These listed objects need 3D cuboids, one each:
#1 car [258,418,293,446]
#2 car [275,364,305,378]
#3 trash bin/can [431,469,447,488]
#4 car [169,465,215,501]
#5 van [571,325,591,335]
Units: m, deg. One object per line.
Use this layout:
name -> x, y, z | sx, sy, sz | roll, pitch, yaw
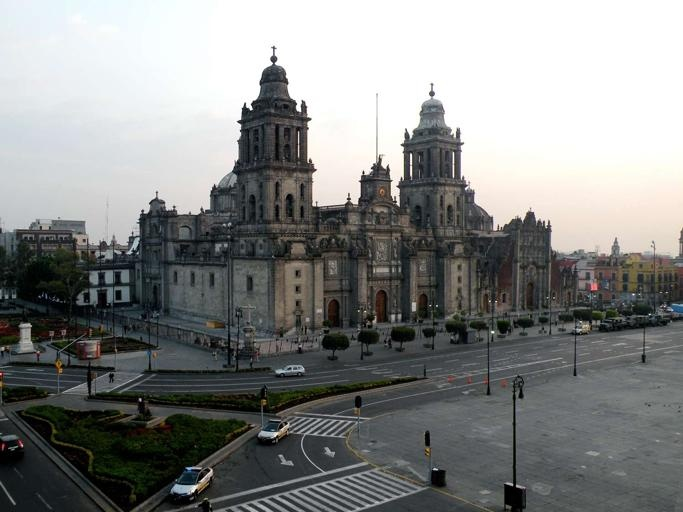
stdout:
car -> -6.529, 17.189, 100.553 | 1.709, 2.069, 3.411 | -4, -5, 32
car -> -5.964, 13.547, 120.294 | 3.005, 1.036, 1.397 | 3, -5, -10
trash bin/can -> 8.787, 19.929, 93.035 | 1.484, 1.717, 1.456 | -2, 4, -13
car -> -13.236, 20.351, 91.787 | 3.617, 2.742, 1.777 | 2, -5, -42
van -> 35.114, 10.929, 151.365 | 2.461, 1.166, 1.414 | 3, -6, -26
